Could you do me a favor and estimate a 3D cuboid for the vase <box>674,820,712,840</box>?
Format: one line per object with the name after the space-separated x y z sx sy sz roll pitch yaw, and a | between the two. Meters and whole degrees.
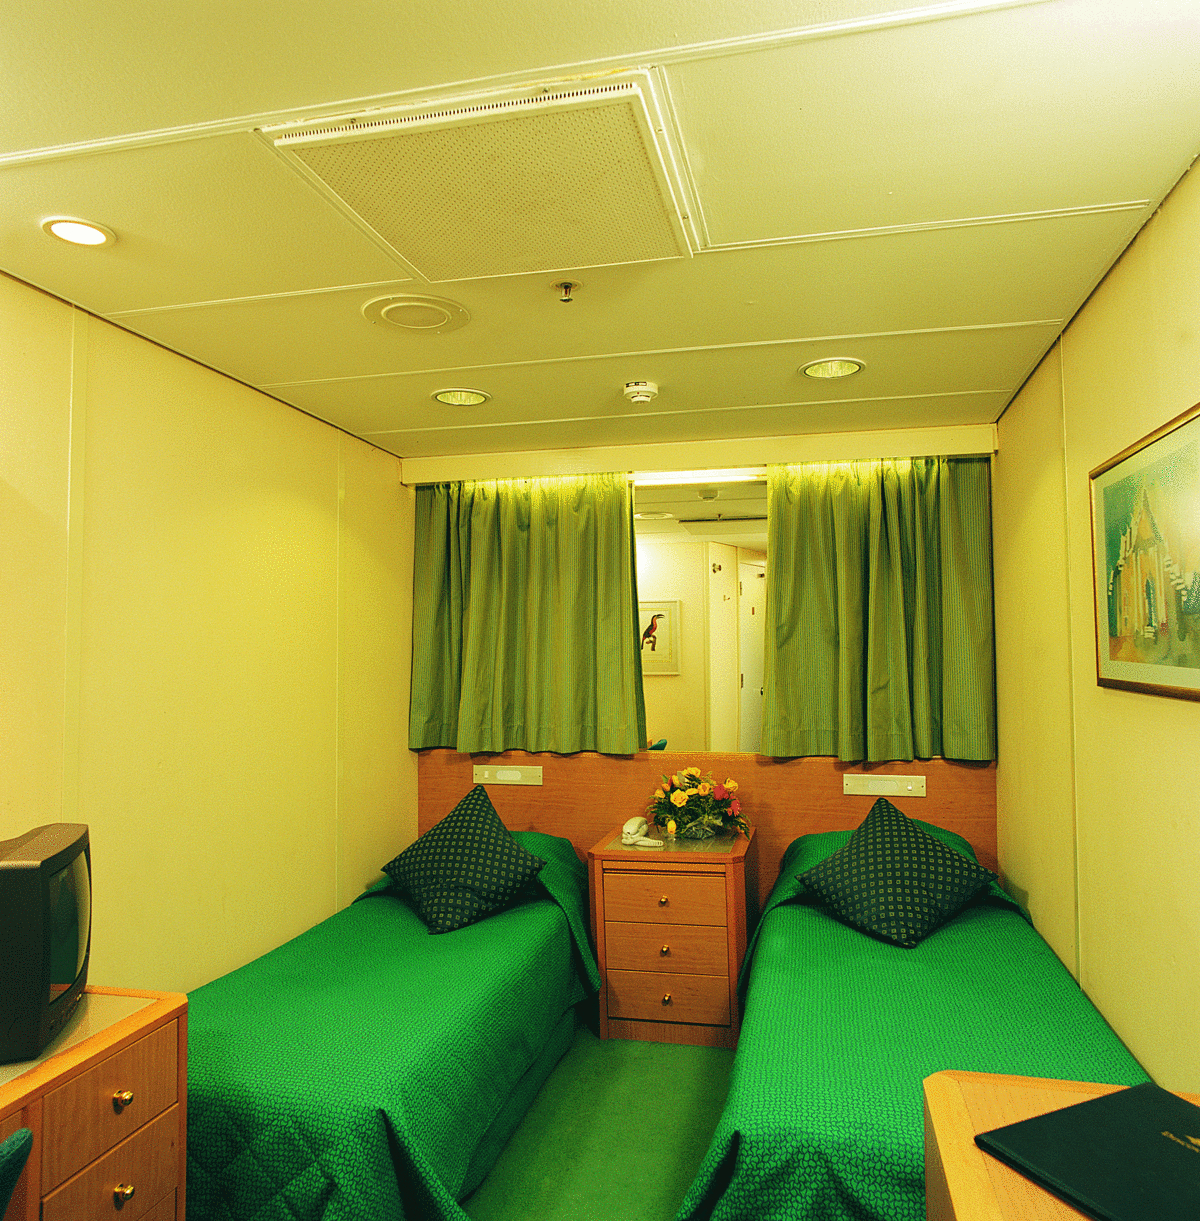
0.359 0.868 3.885 0.103 0.042 0.081 2 -19 4 | vase

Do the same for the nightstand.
0.268 1.172 3.807 0.644 0.964 0.600 -1 -5 12 | nightstand

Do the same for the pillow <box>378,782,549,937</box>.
-0.505 0.920 3.582 0.378 0.128 0.401 -34 36 -16 | pillow

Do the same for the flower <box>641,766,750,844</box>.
0.403 0.776 4.017 0.269 0.212 0.289 0 0 13 | flower
